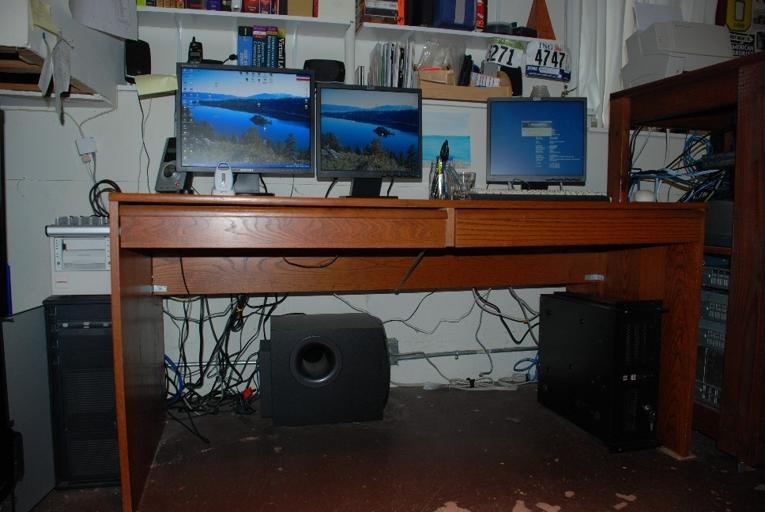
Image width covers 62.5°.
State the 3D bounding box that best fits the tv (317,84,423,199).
[{"bbox_3d":[-0.072,-0.628,3.331,0.725,0.688,0.236,1,-1,-11],"label":"tv"}]

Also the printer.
[{"bbox_3d":[1.632,-1.216,3.818,0.572,0.578,0.593,-7,15,-15],"label":"printer"}]

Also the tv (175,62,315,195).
[{"bbox_3d":[-0.710,-0.655,3.185,0.794,0.580,0.060,-1,3,-10],"label":"tv"}]

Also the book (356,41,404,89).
[{"bbox_3d":[-0.028,-1.128,3.693,0.233,0.286,0.301,-3,8,-19],"label":"book"}]

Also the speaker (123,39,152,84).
[{"bbox_3d":[-1.354,-1.077,3.509,0.155,0.241,0.180,-4,8,-28],"label":"speaker"}]

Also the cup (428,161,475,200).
[{"bbox_3d":[0.337,-0.391,3.310,0.254,0.246,0.180,2,0,-4],"label":"cup"}]

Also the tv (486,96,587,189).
[{"bbox_3d":[0.851,-0.638,3.488,0.532,0.443,0.055,0,4,1],"label":"tv"}]
